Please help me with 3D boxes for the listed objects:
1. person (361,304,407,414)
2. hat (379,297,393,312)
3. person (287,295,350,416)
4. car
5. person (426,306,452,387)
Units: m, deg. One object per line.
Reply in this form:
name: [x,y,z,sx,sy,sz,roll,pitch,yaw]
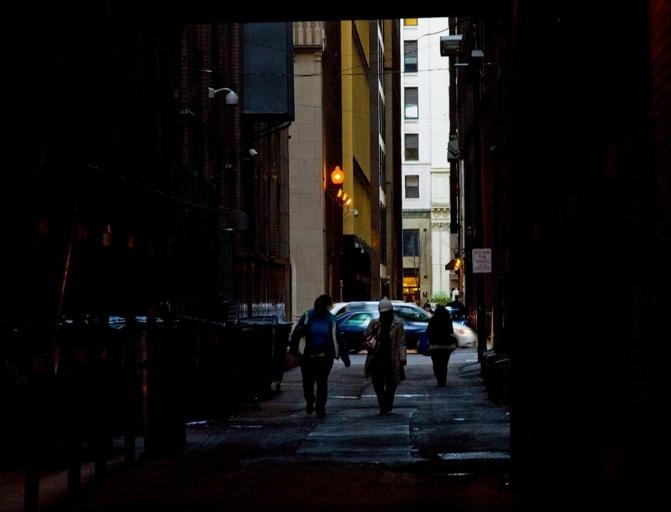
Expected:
person: [0.852,1.770,15.044,0.635,2.007,0.667,4,-8,-36]
hat: [0.871,0.893,14.989,0.197,0.274,0.248,2,15,2]
person: [-0.302,1.702,14.727,0.941,2.066,0.377,0,-7,-7]
car: [1.665,2.563,29.708,3.238,1.352,1.614,-3,-2,-3]
person: [2.447,2.098,19.754,0.637,1.836,0.987,-2,-7,6]
